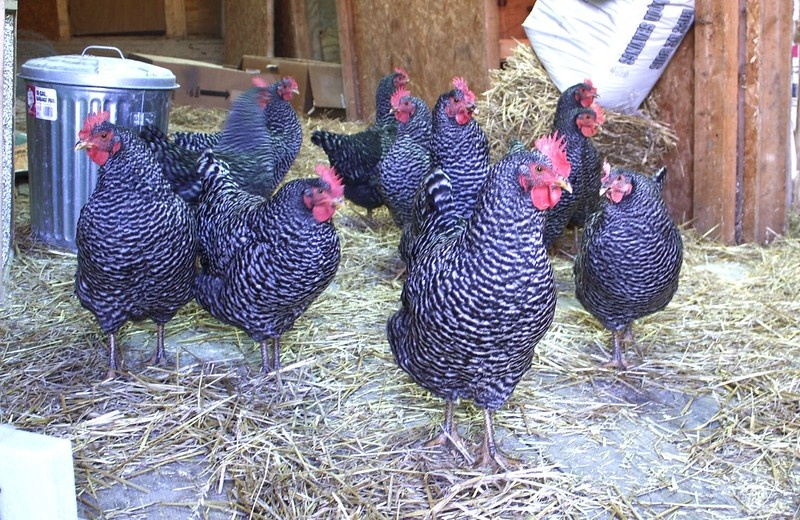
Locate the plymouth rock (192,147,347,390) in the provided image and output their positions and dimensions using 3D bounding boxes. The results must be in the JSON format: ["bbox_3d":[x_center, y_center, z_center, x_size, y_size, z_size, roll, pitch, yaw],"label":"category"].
[{"bbox_3d":[-0.891,0.016,4.918,0.996,1.305,0.453,19,24,33],"label":"plymouth rock"}]

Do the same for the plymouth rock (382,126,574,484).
[{"bbox_3d":[0.393,0.242,4.328,0.833,1.764,0.428,6,20,0],"label":"plymouth rock"}]
